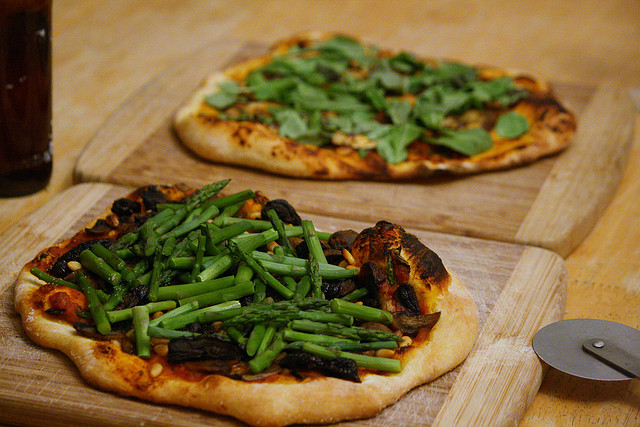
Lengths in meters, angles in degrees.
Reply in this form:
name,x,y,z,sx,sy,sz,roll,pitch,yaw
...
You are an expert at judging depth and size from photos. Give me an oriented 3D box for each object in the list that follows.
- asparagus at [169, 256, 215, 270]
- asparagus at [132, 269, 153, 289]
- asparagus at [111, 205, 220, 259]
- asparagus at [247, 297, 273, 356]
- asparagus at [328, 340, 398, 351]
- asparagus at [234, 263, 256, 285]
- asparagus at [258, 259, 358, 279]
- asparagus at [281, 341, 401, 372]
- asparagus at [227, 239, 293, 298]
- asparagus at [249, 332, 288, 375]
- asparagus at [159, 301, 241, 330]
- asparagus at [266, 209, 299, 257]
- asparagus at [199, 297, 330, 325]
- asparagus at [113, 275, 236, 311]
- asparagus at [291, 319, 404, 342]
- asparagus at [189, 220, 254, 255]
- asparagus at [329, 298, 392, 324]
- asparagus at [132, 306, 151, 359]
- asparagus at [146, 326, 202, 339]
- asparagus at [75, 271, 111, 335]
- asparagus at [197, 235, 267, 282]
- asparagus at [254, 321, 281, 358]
name,x,y,z,sx,sy,sz,roll,pitch,yaw
asparagus,-0.662,0.263,3.051,0.270,0.067,0.064,-1,87,-12
asparagus,-0.901,0.339,2.944,0.047,0.049,0.143,12,20,22
asparagus,-0.771,0.085,3.278,0.920,0.180,0.112,-24,85,-37
asparagus,-0.294,0.537,2.700,0.134,0.176,0.228,-7,23,-3
asparagus,0.191,0.630,2.745,0.288,0.051,0.037,-1,96,-2
asparagus,-0.395,0.312,2.958,0.065,0.039,0.124,14,30,13
asparagus,-0.087,0.299,3.034,0.396,0.076,0.051,5,80,-3
asparagus,0.075,0.673,2.703,0.506,0.067,0.076,7,21,-1
asparagus,-0.323,0.300,2.993,0.377,0.075,0.063,38,62,11
asparagus,-0.238,0.648,2.704,0.071,0.061,0.241,21,37,27
asparagus,-0.575,0.497,2.783,0.319,0.052,0.062,-12,16,-8
asparagus,-0.230,0.110,3.234,0.218,0.217,0.275,-1,20,-2
asparagus,-0.274,0.478,2.778,0.617,0.065,0.059,-6,92,-8
asparagus,-0.637,0.398,2.931,0.576,0.116,0.088,-13,64,33
asparagus,0.104,0.568,2.778,0.439,0.056,0.059,8,39,2
asparagus,-0.505,0.122,3.195,0.450,0.081,0.107,-20,98,-31
asparagus,0.207,0.491,2.855,0.335,0.094,0.070,13,90,-14
asparagus,-0.849,0.568,2.752,0.088,0.068,0.240,12,54,-32
asparagus,-0.691,0.565,2.692,0.249,0.054,0.050,6,56,4
asparagus,-1.154,0.424,2.932,0.105,0.068,0.475,-20,44,-26
asparagus,-0.474,0.245,3.021,0.327,0.061,0.065,-35,68,-22
asparagus,-0.247,0.579,2.713,0.052,0.036,0.238,16,45,10
